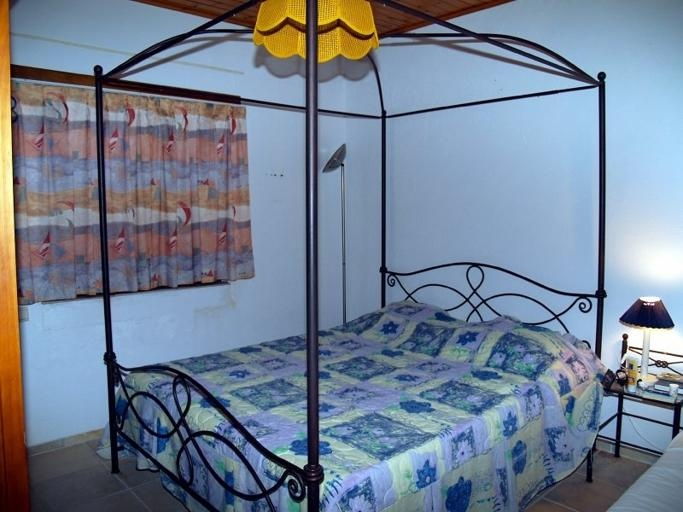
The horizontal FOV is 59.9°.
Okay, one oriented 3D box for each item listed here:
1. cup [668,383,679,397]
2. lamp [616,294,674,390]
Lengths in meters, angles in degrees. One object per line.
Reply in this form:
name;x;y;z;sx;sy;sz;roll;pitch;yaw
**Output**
cup;2.057;0.827;3.643;0.060;0.081;0.064;-1;11;0
lamp;1.975;0.515;3.833;0.299;0.509;0.294;7;14;30
